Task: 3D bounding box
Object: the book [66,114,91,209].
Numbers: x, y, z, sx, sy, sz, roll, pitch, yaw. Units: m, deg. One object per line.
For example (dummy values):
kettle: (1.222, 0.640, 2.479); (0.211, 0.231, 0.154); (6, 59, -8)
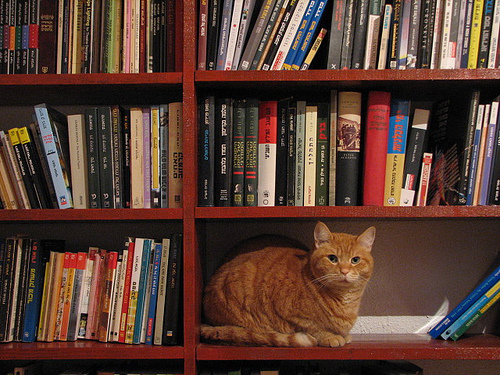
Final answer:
book: (-0.522, -0.082, 1.452); (0.050, 0.219, 0.210); (0, -6, -7)
